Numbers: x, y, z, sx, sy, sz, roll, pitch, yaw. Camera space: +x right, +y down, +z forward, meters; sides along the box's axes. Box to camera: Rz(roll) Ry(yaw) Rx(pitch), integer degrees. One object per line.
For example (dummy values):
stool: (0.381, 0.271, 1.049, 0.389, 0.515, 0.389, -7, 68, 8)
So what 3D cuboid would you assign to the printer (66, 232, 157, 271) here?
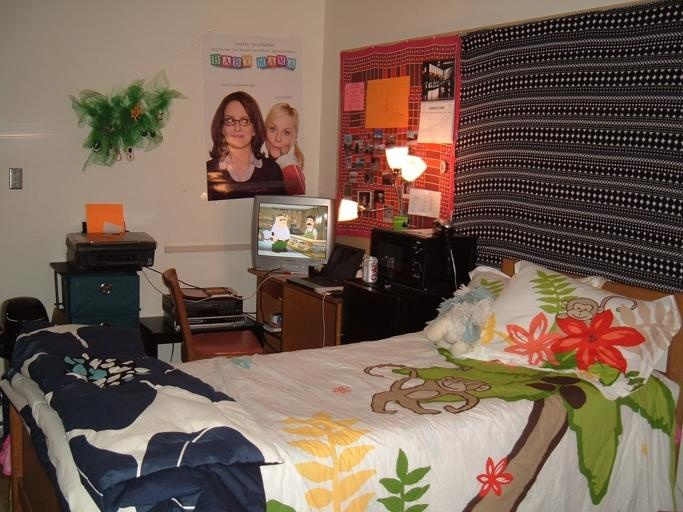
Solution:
printer: (-1.702, -0.035, 3.733, 0.411, 0.161, 0.408, -3, 9, -29)

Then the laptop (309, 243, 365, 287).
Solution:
laptop: (-0.023, 0.058, 4.004, 0.305, 0.420, 0.395, 12, -3, 44)

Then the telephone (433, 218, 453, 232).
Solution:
telephone: (0.668, -0.212, 3.352, 0.088, 0.080, 0.118, -10, 7, -10)

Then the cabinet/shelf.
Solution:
cabinet/shelf: (-1.760, 0.282, 3.769, 0.696, 0.684, 0.480, 1, 4, -23)

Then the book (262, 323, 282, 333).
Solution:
book: (-0.578, 0.596, 4.228, 0.111, 0.032, 0.108, 2, 8, -29)

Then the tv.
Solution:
tv: (-0.378, -0.200, 4.471, 0.775, 0.664, 0.439, 5, 8, 12)

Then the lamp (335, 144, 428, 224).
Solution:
lamp: (0.302, -0.557, 4.062, 0.233, 0.633, 0.825, -7, 13, -37)
